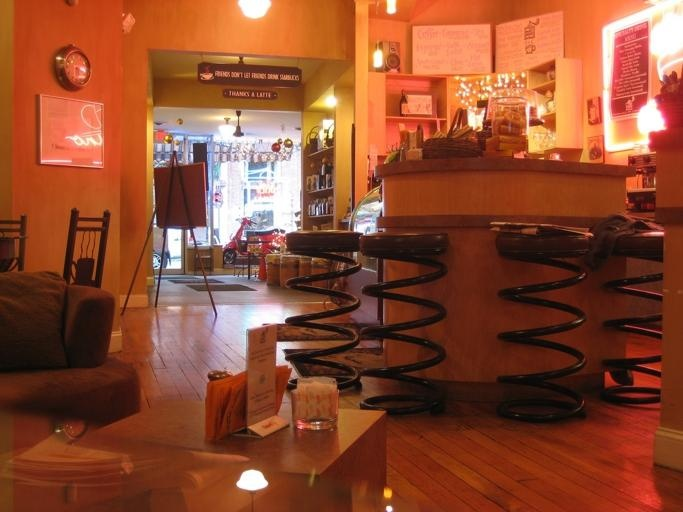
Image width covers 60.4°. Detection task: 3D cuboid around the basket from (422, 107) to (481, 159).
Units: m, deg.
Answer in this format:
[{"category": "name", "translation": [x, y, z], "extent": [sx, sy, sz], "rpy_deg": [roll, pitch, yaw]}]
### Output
[{"category": "basket", "translation": [0.685, -0.745, 3.526], "extent": [0.317, 0.371, 0.516], "rpy_deg": [1, 3, 25]}]

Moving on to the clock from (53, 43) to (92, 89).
[{"category": "clock", "translation": [-2.018, -1.412, 4.403], "extent": [0.123, 0.324, 0.238], "rpy_deg": [2, 3, 39]}]

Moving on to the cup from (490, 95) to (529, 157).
[{"category": "cup", "translation": [1.017, -0.799, 3.587], "extent": [0.238, 0.386, 0.210], "rpy_deg": [1, 2, 15]}]

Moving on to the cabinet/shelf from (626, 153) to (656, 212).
[{"category": "cabinet/shelf", "translation": [2.851, -0.699, 5.600], "extent": [0.217, 0.583, 0.540], "rpy_deg": [1, 3, 26]}]

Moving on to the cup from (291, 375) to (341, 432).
[{"category": "cup", "translation": [-0.074, 0.452, 1.789], "extent": [0.147, 0.145, 0.142], "rpy_deg": [1, -4, 0]}]

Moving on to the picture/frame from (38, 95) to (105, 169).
[{"category": "picture/frame", "translation": [-2.072, -0.945, 4.448], "extent": [0.652, 0.609, 0.068], "rpy_deg": [0, -1, -42]}]

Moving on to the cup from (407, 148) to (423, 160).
[{"category": "cup", "translation": [0.443, -0.616, 3.551], "extent": [0.114, 0.096, 0.062], "rpy_deg": [4, 9, 27]}]

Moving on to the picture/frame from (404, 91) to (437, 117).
[{"category": "picture/frame", "translation": [1.011, -1.932, 7.533], "extent": [0.540, 0.346, 0.282], "rpy_deg": [0, -2, -3]}]
